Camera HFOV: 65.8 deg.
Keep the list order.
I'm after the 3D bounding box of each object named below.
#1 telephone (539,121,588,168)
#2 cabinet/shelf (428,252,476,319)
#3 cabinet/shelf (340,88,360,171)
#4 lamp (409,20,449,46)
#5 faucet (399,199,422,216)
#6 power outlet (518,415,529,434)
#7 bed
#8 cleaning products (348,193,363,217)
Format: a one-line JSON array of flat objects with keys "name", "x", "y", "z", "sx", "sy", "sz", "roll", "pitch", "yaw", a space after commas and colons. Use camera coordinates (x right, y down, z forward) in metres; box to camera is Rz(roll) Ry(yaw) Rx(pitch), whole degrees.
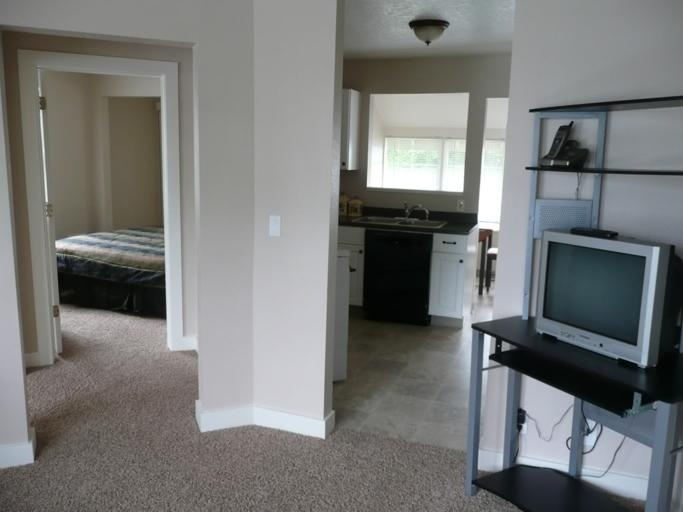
[{"name": "telephone", "x": 1.203, "y": -0.592, "z": 2.840, "sx": 0.148, "sy": 0.262, "sz": 0.240, "roll": -3, "pitch": 14, "yaw": -31}, {"name": "cabinet/shelf", "x": 1.301, "y": 0.334, "z": 5.668, "sx": 0.422, "sy": 0.763, "sz": 0.780, "roll": 4, "pitch": 2, "yaw": 35}, {"name": "cabinet/shelf", "x": 0.099, "y": -1.461, "z": 6.172, "sx": 0.159, "sy": 0.926, "sz": 0.507, "roll": 2, "pitch": 10, "yaw": 11}, {"name": "lamp", "x": 0.757, "y": -1.958, "z": 4.694, "sx": 0.223, "sy": 0.131, "sz": 0.217, "roll": 0, "pitch": 1, "yaw": -2}, {"name": "faucet", "x": 0.835, "y": -0.539, "z": 6.206, "sx": 0.245, "sy": 0.172, "sz": 0.256, "roll": 2, "pitch": 10, "yaw": 7}, {"name": "power outlet", "x": 1.062, "y": 0.987, "z": 3.076, "sx": 0.080, "sy": 0.129, "sz": 0.030, "roll": -1, "pitch": 7, "yaw": -14}, {"name": "bed", "x": -2.320, "y": 0.159, "z": 5.417, "sx": 0.985, "sy": 0.371, "sz": 1.003, "roll": 6, "pitch": 14, "yaw": 22}, {"name": "cleaning products", "x": 0.159, "y": -0.602, "z": 6.383, "sx": 0.213, "sy": 0.342, "sz": 0.207, "roll": 3, "pitch": 14, "yaw": 11}]
